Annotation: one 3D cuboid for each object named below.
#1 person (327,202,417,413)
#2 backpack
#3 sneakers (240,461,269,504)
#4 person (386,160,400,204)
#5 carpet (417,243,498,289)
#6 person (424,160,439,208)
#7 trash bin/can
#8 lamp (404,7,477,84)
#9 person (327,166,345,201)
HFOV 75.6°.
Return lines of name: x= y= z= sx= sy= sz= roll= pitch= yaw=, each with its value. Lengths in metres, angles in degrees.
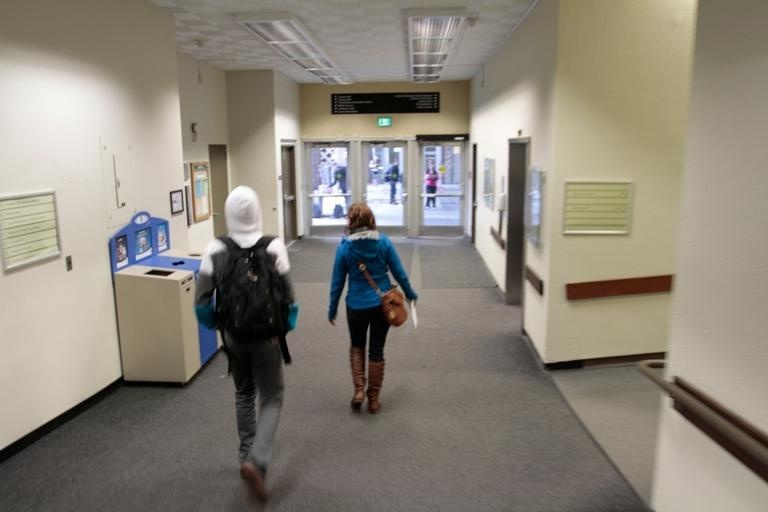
person: x=-0.125 y=0.502 z=4.714 sx=0.804 sy=1.952 sz=0.480 roll=0 pitch=13 yaw=3
backpack: x=-1.025 y=0.252 z=3.885 sx=0.622 sy=0.910 sz=0.476 roll=-2 pitch=-2 yaw=-4
sneakers: x=-0.959 y=1.678 z=3.662 sx=0.118 sy=0.307 sz=0.128 roll=-16 pitch=13 yaw=17
person: x=0.250 y=-2.046 z=13.743 sx=0.374 sy=1.193 sz=0.115 roll=-4 pitch=13 yaw=-13
carpet: x=1.373 y=0.065 z=11.284 sx=1.630 sy=0.039 sz=5.509 roll=-2 pitch=10 yaw=6
person: x=1.309 y=-1.958 z=13.579 sx=0.368 sy=1.261 sz=0.143 roll=0 pitch=13 yaw=5
trash bin/can: x=-2.276 y=0.661 z=5.114 sx=0.712 sy=1.161 sz=1.344 roll=-1 pitch=9 yaw=-2
lamp: x=0.781 y=-3.378 z=7.598 sx=0.791 sy=0.197 sz=2.633 roll=-2 pitch=-4 yaw=2
person: x=-1.380 y=-2.097 z=13.738 sx=0.609 sy=1.132 sz=0.614 roll=0 pitch=8 yaw=4
